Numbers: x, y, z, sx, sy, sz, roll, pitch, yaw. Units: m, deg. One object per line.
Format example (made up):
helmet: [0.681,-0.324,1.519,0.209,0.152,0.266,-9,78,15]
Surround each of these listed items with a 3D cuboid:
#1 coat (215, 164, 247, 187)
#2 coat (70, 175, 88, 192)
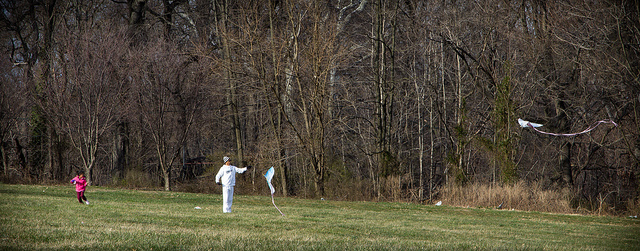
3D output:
coat: [-10.386,5.933,100.637,3.192,2.705,0.969,3,-16,-19]
coat: [-28.127,6.770,99.457,2.245,1.808,0.841,-2,-12,-10]
